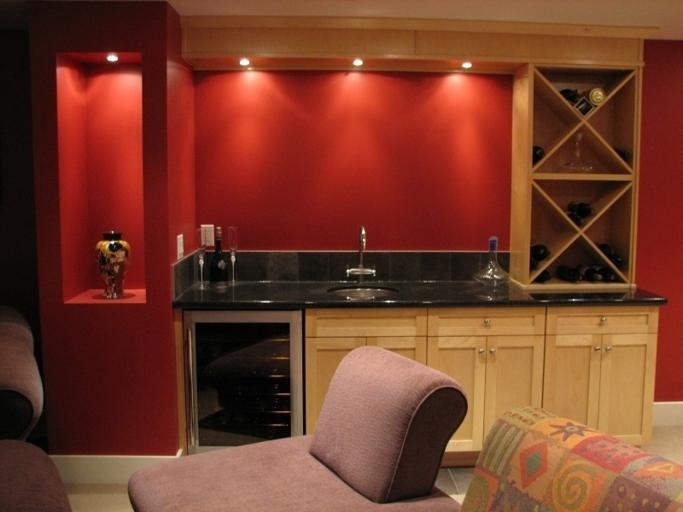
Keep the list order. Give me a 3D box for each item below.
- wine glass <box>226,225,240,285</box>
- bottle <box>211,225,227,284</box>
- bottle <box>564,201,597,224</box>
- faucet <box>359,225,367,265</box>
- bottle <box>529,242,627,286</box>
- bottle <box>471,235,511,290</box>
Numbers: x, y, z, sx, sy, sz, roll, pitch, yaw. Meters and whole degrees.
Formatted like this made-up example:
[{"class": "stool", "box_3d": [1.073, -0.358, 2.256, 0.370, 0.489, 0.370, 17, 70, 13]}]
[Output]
[{"class": "wine glass", "box_3d": [-0.765, -0.003, 4.510, 0.067, 0.396, 0.201, 0, 1, -11]}, {"class": "bottle", "box_3d": [-0.861, -0.018, 4.491, 0.116, 0.397, 0.224, 0, 1, 0]}, {"class": "bottle", "box_3d": [1.674, -0.303, 4.485, 0.180, 0.168, 0.182, 0, 0, 20]}, {"class": "faucet", "box_3d": [0.155, -0.069, 4.555, 0.053, 0.307, 0.167, 0, 1, 3]}, {"class": "bottle", "box_3d": [1.658, 0.045, 4.496, 0.650, 0.276, 0.307, 0, 0, 12]}, {"class": "bottle", "box_3d": [1.080, 0.020, 4.498, 0.306, 0.403, 0.319, -2, 9, 0]}]
